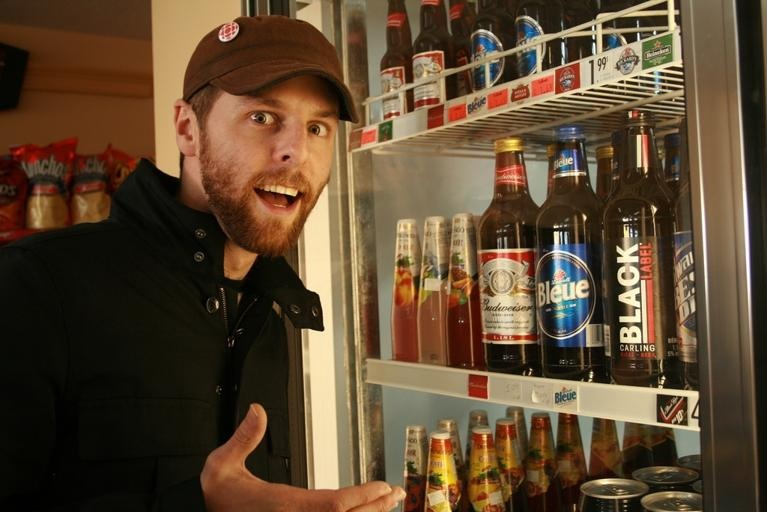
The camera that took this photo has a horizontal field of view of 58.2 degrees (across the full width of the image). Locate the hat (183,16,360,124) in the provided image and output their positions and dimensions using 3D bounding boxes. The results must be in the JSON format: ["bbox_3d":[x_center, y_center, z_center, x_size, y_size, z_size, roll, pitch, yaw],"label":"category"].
[{"bbox_3d":[-0.293,-0.498,1.786,0.406,0.252,0.524,-2,2,-30],"label":"hat"}]
